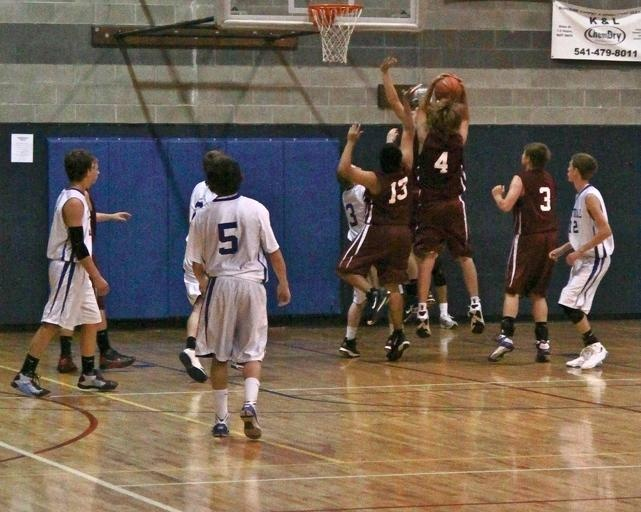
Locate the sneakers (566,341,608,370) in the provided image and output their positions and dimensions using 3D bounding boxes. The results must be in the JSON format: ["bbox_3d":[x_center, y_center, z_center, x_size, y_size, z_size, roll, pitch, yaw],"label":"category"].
[{"bbox_3d":[2.582,0.990,8.203,0.366,0.165,0.215,-11,-7,-41],"label":"sneakers"}]

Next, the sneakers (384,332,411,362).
[{"bbox_3d":[0.755,0.907,8.481,0.144,0.189,0.438,-25,-21,-15],"label":"sneakers"}]

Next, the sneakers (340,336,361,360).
[{"bbox_3d":[0.320,0.969,8.911,0.109,0.181,0.327,8,-1,33],"label":"sneakers"}]

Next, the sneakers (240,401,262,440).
[{"bbox_3d":[-0.466,1.103,5.686,0.097,0.296,0.126,-6,35,12],"label":"sneakers"}]

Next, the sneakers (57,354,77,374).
[{"bbox_3d":[-2.383,1.025,8.063,0.092,0.184,0.249,1,8,11],"label":"sneakers"}]

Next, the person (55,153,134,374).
[{"bbox_3d":[-2.049,0.126,7.759,0.647,2.200,0.755,24,27,39],"label":"person"}]

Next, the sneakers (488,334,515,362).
[{"bbox_3d":[1.837,0.955,8.636,0.081,0.240,0.179,25,36,-15],"label":"sneakers"}]

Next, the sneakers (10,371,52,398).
[{"bbox_3d":[-2.420,1.086,7.079,0.257,0.193,0.090,24,3,-10],"label":"sneakers"}]

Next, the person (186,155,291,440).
[{"bbox_3d":[-0.607,0.297,5.864,0.639,1.986,0.684,-1,-3,24],"label":"person"}]

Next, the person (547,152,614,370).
[{"bbox_3d":[2.617,0.040,8.483,0.555,2.111,1.285,2,4,19],"label":"person"}]

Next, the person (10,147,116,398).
[{"bbox_3d":[-2.099,0.133,7.063,0.761,2.035,0.542,-1,4,-17],"label":"person"}]

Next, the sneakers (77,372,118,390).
[{"bbox_3d":[-1.896,1.076,7.250,0.377,0.207,0.148,1,-1,5],"label":"sneakers"}]

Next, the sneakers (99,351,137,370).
[{"bbox_3d":[-1.957,1.001,8.199,0.396,0.217,0.148,-1,5,-6],"label":"sneakers"}]
